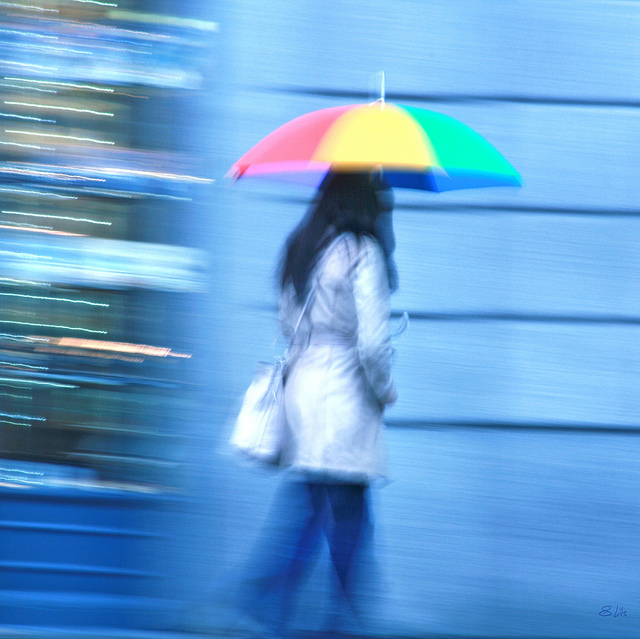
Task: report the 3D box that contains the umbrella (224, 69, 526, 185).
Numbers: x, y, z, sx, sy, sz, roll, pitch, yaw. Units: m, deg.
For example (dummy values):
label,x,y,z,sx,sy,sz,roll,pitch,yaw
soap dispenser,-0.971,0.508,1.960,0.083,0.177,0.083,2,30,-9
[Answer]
label,x,y,z,sx,sy,sz,roll,pitch,yaw
umbrella,0.248,-0.792,5.512,0.998,0.371,0.937,-10,21,-25

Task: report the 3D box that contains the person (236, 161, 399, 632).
label,x,y,z,sx,sy,sz,roll,pitch,yaw
person,0.043,0.344,5.432,0.522,1.938,0.406,7,-4,-3
